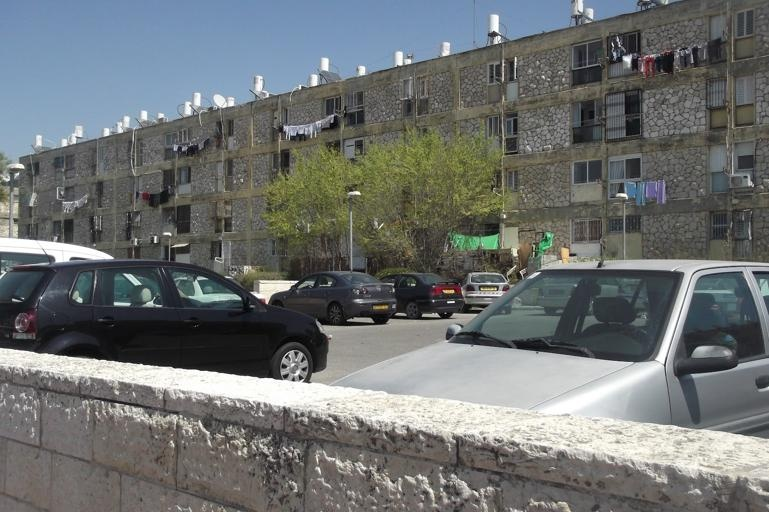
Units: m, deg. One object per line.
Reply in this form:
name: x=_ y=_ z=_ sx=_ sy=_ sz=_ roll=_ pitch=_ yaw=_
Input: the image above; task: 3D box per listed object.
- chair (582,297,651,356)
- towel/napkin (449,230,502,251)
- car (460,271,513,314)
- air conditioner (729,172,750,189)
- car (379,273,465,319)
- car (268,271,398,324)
chair: x=1.979 y=0.624 z=7.983 sx=0.438 sy=0.688 sz=0.470 roll=-3 pitch=-12 yaw=21
towel/napkin: x=3.939 y=-0.661 z=40.008 sx=2.349 sy=0.883 sz=1.176 roll=-10 pitch=14 yaw=-30
car: x=3.338 y=1.264 z=31.543 sx=1.136 sy=0.997 sz=2.745 roll=-2 pitch=2 yaw=-1
air conditioner: x=12.794 y=-2.668 z=33.263 sx=0.414 sy=0.587 sz=0.937 roll=-8 pitch=13 yaw=-25
car: x=1.338 y=1.201 z=27.621 sx=1.052 sy=0.827 sz=2.349 roll=-1 pitch=3 yaw=-35
car: x=-1.572 y=1.272 z=25.299 sx=3.060 sy=1.237 sz=1.515 roll=3 pitch=0 yaw=38
